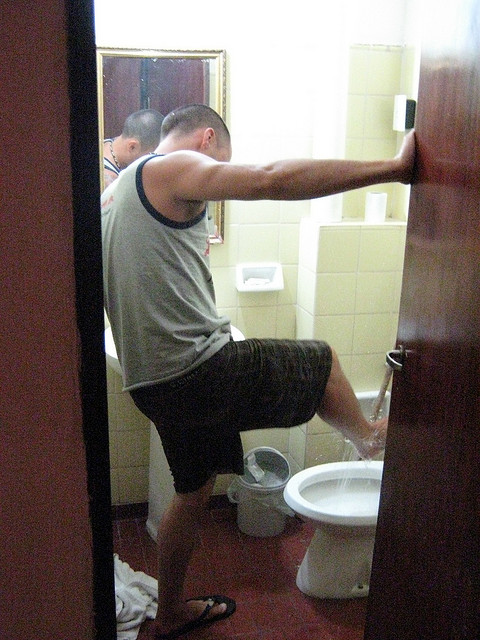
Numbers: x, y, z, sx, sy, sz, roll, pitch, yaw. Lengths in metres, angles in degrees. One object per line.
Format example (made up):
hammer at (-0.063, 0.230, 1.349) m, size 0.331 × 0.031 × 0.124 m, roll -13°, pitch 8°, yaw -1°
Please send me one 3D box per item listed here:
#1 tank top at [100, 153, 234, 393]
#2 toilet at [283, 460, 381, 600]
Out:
tank top at (-0.133, -0.073, 1.055) m, size 0.251 × 0.436 × 0.147 m, roll 3°, pitch 3°, yaw -17°
toilet at (0.265, 0.585, 1.642) m, size 0.348 × 0.289 × 0.314 m, roll -4°, pitch 16°, yaw -4°
